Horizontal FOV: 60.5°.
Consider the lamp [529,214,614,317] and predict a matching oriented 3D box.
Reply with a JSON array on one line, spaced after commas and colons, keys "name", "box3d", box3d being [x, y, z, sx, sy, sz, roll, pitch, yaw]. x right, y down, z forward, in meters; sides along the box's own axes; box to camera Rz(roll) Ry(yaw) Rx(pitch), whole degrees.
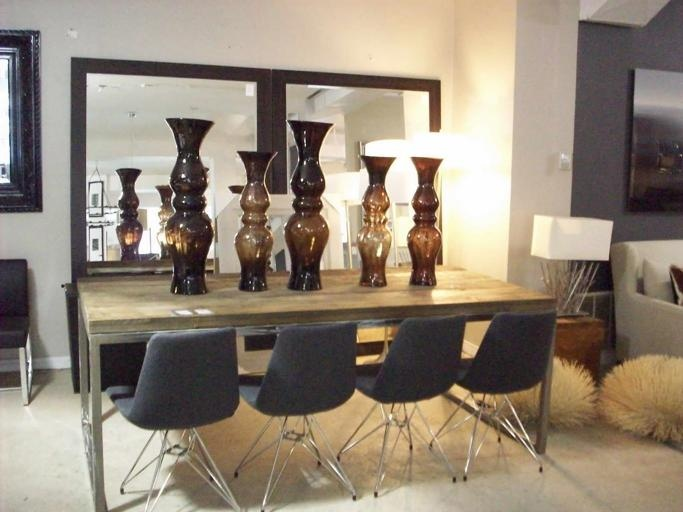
[{"name": "lamp", "box3d": [1.785, 0.091, 4.540, 0.523, 0.776, 0.539, 1, 5, -19]}]

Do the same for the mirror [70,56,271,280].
[{"name": "mirror", "box3d": [-1.401, -0.683, 4.474, 1.734, 2.282, 0.045, -1, 7, -10]}]

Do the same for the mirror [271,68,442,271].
[{"name": "mirror", "box3d": [0.052, -0.672, 4.633, 1.715, 2.156, 0.047, 0, 7, -9]}]

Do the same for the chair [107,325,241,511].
[{"name": "chair", "box3d": [-0.884, 0.849, 3.092, 0.576, 1.025, 0.736, -4, 6, -28]}]

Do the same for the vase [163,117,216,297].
[{"name": "vase", "box3d": [-0.860, -0.281, 3.320, 0.279, 1.001, 0.200, -2, 6, -12]}]

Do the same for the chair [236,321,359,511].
[{"name": "chair", "box3d": [-0.291, 0.827, 3.326, 0.667, 1.015, 0.783, -2, 5, -13]}]

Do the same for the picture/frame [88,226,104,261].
[{"name": "picture/frame", "box3d": [-2.025, -0.092, 4.812, 0.111, 0.300, 0.035, 0, -17, -24]}]
